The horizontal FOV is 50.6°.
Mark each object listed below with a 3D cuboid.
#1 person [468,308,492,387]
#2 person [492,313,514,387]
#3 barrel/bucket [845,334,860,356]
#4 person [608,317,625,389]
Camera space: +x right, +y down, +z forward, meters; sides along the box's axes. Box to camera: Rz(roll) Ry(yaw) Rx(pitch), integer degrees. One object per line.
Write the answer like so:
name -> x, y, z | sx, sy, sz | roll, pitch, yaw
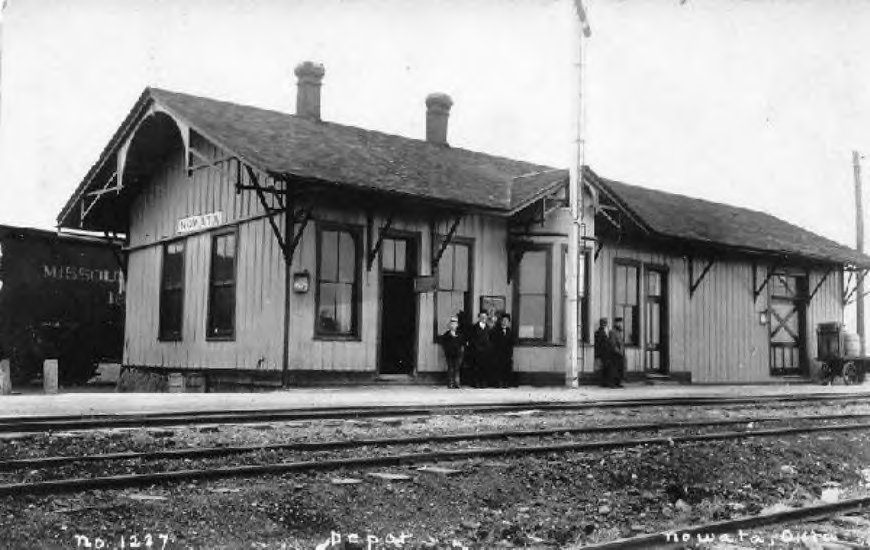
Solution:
person -> 1.104, 1.959, 23.675 | 0.547, 1.906, 0.867 | 0, -6, 2
person -> 1.774, 2.011, 24.199 | 0.528, 1.928, 0.707 | 0, -6, 3
barrel/bucket -> 14.151, 2.445, 31.338 | 0.608, 0.940, 0.634 | -1, 2, 0
person -> 5.033, 2.192, 25.498 | 0.341, 1.929, 0.680 | -1, -6, 11
